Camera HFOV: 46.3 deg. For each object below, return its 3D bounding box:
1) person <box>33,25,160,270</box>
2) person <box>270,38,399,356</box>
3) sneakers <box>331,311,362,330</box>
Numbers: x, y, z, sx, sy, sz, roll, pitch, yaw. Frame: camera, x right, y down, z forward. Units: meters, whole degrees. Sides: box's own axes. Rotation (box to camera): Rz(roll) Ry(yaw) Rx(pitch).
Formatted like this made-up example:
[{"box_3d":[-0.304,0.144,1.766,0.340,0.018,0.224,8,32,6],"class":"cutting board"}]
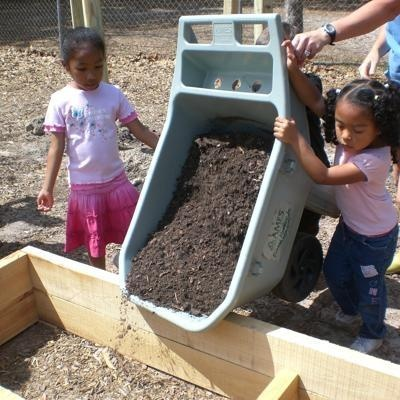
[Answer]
[{"box_3d":[-0.549,-0.144,2.499,0.616,1.410,0.465,1,27,3],"class":"person"},{"box_3d":[0.611,0.028,2.028,0.567,1.363,0.448,8,29,17],"class":"person"},{"box_3d":[0.726,0.596,2.319,0.108,0.074,0.067,2,13,-13],"class":"sneakers"}]
